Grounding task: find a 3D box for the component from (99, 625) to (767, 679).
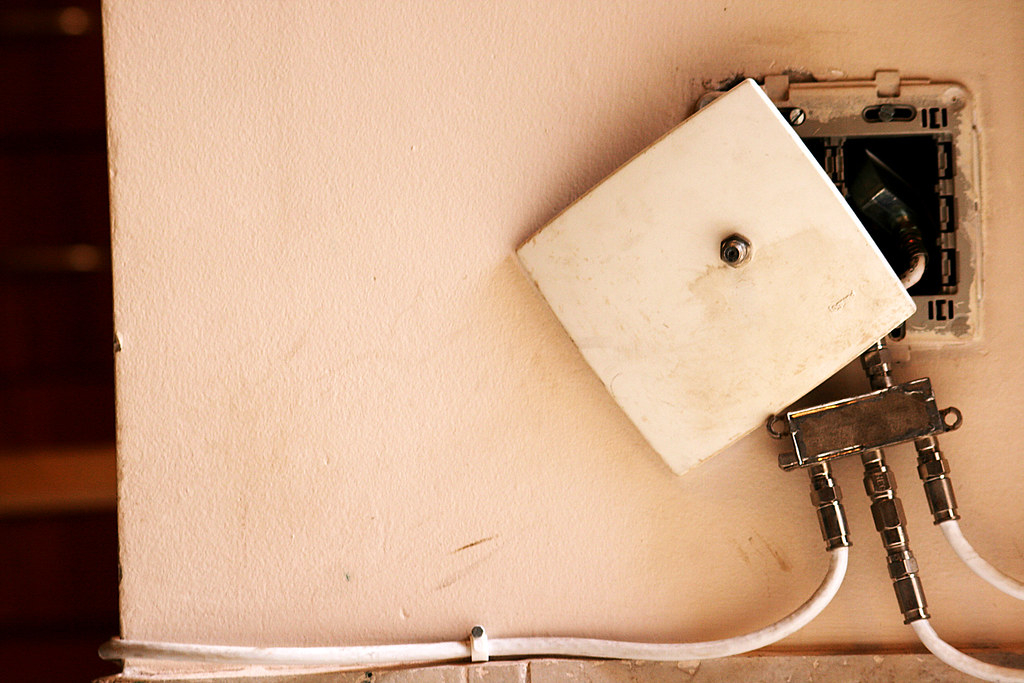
[{"bbox_3d":[-0.136,0.524,2.421,1.096,0.106,0.053,1,-3,1],"label":"component"}]
